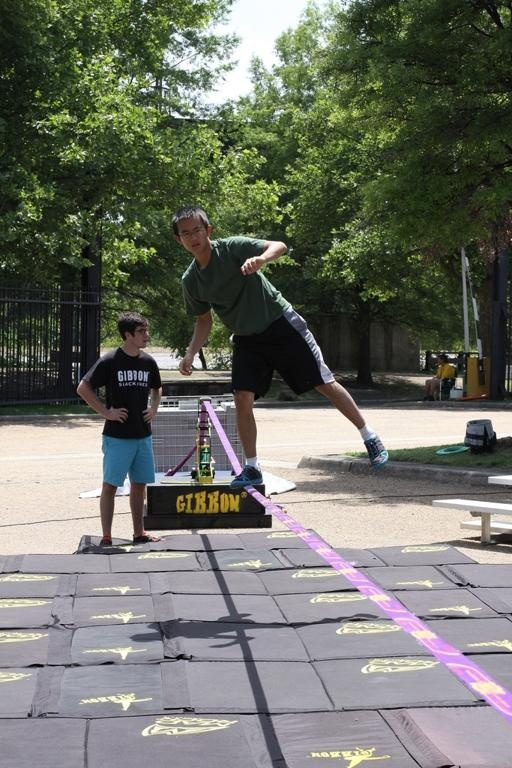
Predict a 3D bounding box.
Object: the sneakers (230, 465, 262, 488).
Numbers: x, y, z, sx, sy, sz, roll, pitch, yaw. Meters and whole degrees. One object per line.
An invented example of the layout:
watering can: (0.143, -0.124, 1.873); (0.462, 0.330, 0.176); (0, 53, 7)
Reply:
sneakers: (-0.046, 0.566, 5.059); (0.089, 0.101, 0.244); (-5, -8, 32)

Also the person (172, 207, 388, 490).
person: (0.151, -0.278, 4.962); (1.263, 1.661, 0.979); (-5, -11, -3)

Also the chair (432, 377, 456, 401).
chair: (5.174, 0.123, 23.149); (0.570, 0.725, 0.748); (3, -5, -9)

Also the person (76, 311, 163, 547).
person: (-0.902, 0.303, 5.525); (0.459, 1.541, 0.701); (0, 1, 5)

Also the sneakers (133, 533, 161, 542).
sneakers: (-0.737, 1.037, 5.573); (0.191, 0.076, 0.064); (-1, 7, -5)
